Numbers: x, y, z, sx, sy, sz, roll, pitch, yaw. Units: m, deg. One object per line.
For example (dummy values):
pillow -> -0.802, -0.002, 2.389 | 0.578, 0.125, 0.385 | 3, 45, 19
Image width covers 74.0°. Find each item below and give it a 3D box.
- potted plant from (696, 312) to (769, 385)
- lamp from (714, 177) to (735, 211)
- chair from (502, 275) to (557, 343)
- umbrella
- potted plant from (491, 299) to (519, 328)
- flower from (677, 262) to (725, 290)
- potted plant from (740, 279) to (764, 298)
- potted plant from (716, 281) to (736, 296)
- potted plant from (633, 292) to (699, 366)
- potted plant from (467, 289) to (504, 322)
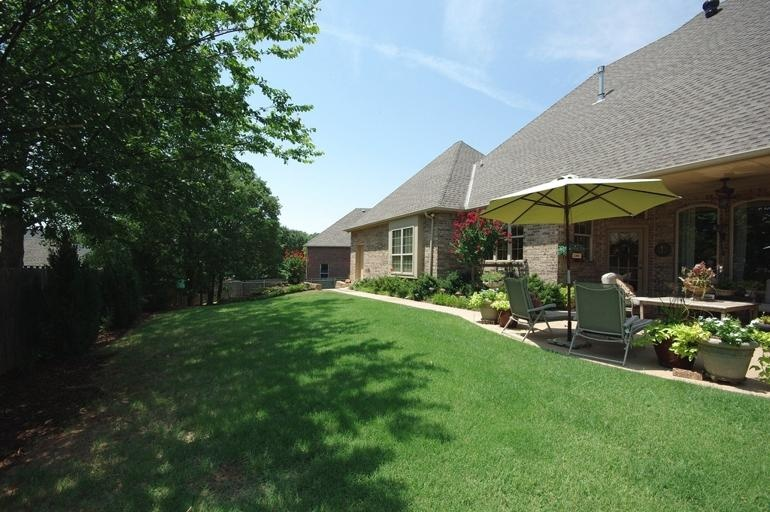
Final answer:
potted plant -> 7.193, 1.882, 10.811 | 1.312, 1.322, 1.289 | 2, -4, -42
lamp -> 9.577, -1.703, 14.397 | 0.453, 0.821, 0.554 | -1, -3, 41
chair -> 3.871, 1.319, 13.021 | 1.568, 1.848, 1.335 | 4, -6, -18
umbrella -> 4.529, 0.033, 12.605 | 3.748, 3.341, 3.516 | -2, -1, -4
potted plant -> 3.251, 1.568, 13.836 | 0.732, 0.523, 0.706 | 1, -6, -8
flower -> 8.022, 0.566, 13.219 | 1.130, 0.753, 1.074 | 0, -5, -22
potted plant -> 10.021, 0.902, 13.889 | 0.546, 0.505, 0.501 | -1, -3, 36
potted plant -> 9.473, 0.911, 14.190 | 0.410, 0.262, 0.387 | -3, -5, 18
potted plant -> 6.103, 1.715, 11.187 | 1.328, 1.194, 1.265 | 1, -6, -10
potted plant -> 2.890, 1.453, 14.476 | 0.879, 0.760, 0.837 | 2, -16, -11
